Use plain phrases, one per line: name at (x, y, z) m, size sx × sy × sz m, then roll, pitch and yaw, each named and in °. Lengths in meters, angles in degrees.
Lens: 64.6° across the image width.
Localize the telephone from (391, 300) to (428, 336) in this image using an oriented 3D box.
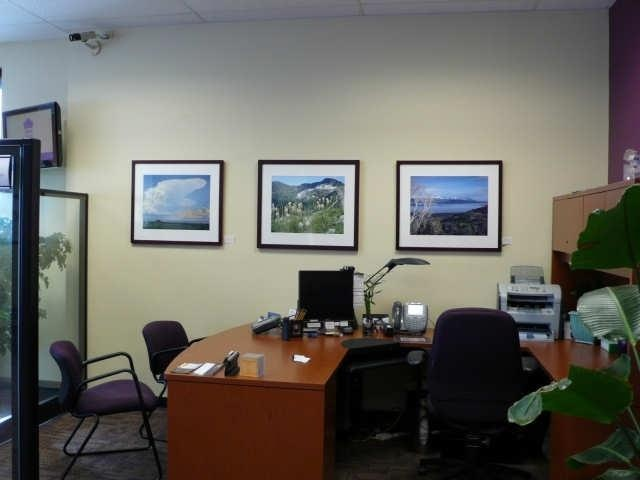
telephone at (0.799, 0.683, 4.483) m, size 0.333 × 0.306 × 0.251 m, roll 0°, pitch -6°, yaw 8°

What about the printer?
printer at (1.834, 0.518, 4.430) m, size 0.542 × 0.638 × 0.451 m, roll -3°, pitch -4°, yaw 21°

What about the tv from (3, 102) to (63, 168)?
tv at (-2.897, -1.046, 5.044) m, size 0.694 × 0.629 × 0.259 m, roll 1°, pitch 8°, yaw 8°

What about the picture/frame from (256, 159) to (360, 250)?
picture/frame at (-0.099, -0.347, 4.926) m, size 1.052 × 0.934 × 0.043 m, roll 2°, pitch -12°, yaw 22°

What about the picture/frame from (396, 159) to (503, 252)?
picture/frame at (1.260, -0.333, 4.757) m, size 0.830 × 0.729 × 0.030 m, roll 1°, pitch 0°, yaw 2°

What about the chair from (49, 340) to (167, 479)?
chair at (-1.762, 1.249, 4.163) m, size 0.720 × 1.025 × 1.318 m, roll -4°, pitch 9°, yaw -27°

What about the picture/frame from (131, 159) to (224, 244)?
picture/frame at (-1.385, -0.390, 5.076) m, size 0.813 × 0.737 × 0.055 m, roll 1°, pitch -1°, yaw 3°

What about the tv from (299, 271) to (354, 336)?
tv at (0.037, 0.569, 4.487) m, size 0.526 × 0.507 × 0.178 m, roll 0°, pitch 0°, yaw 0°

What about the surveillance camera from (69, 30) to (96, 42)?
surveillance camera at (-2.460, -2.080, 5.166) m, size 0.339 × 0.114 × 0.134 m, roll 3°, pitch 9°, yaw 20°
